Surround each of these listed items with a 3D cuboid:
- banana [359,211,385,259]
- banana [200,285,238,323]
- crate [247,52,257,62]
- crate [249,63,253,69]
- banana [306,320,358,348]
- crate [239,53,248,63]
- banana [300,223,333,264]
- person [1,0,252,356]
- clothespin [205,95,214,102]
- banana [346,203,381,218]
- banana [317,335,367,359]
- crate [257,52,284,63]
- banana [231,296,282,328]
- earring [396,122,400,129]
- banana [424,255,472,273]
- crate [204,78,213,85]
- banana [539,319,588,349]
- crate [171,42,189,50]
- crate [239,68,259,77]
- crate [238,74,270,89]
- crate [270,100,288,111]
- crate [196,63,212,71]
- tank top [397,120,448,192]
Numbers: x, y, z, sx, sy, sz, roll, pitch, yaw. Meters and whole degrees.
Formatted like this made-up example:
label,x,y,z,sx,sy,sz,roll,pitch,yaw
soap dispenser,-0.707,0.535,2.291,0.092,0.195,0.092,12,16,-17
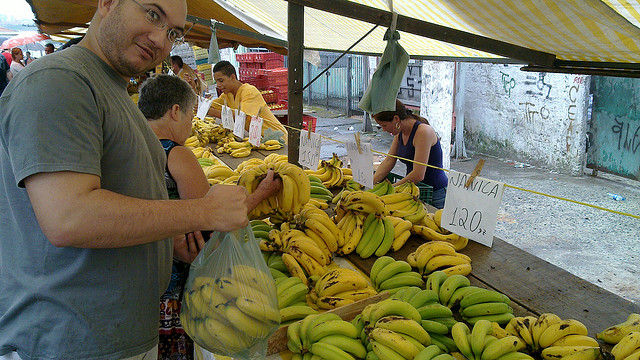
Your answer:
label,x,y,z,sx,sy,sz,roll,pitch,yaw
banana,0.524,0.554,3.876,0.196,0.566,0.117,11,-22,22
banana,-0.673,0.799,2.717,0.236,0.159,0.064,13,19,20
crate,-2.316,-4.238,14.349,0.162,0.331,0.495,-4,21,-28
crate,-2.388,-4.043,14.609,0.073,0.170,0.295,-1,20,-20
banana,0.104,1.097,2.995,0.224,0.184,0.072,-7,2,-14
crate,-2.762,-4.404,15.012,0.291,0.390,0.398,1,10,4
banana,-0.023,0.577,3.726,0.073,0.342,0.113,-35,5,-36
person,-1.360,0.049,2.726,1.331,2.408,0.709,1,19,-16
clothespin,-2.256,-1.698,8.580,0.169,0.023,0.024,-39,24,-8
banana,0.434,0.283,3.945,0.274,0.075,0.060,15,49,-28
banana,0.146,1.200,2.974,0.406,0.123,0.087,11,2,-10
crate,-1.658,-4.229,14.344,0.497,0.355,0.926,19,23,34
banana,-0.427,0.865,2.722,0.279,0.073,0.085,33,18,-13
earring,1.071,-0.735,5.689,0.090,0.068,0.028,-7,22,-34
banana,1.114,0.744,3.648,0.391,0.152,0.081,3,18,-8
crate,-3.767,-3.393,14.273,0.209,0.224,0.624,6,19,-1
banana,1.733,1.109,2.955,0.374,0.172,0.109,-23,-29,11
crate,-3.610,-3.542,10.968,0.369,0.234,0.659,0,20,-19
crate,-2.445,-3.803,14.631,0.671,0.160,0.366,18,13,12
crate,-1.968,-3.284,13.741,1.208,0.325,1.178,2,23,8
crate,-1.142,-2.254,12.406,0.382,0.157,1.486,4,19,-8
crate,-3.909,-3.846,14.138,0.476,0.214,0.472,-3,21,-25
tank top,1.511,-0.200,5.773,0.475,1.342,1.164,4,2,40
